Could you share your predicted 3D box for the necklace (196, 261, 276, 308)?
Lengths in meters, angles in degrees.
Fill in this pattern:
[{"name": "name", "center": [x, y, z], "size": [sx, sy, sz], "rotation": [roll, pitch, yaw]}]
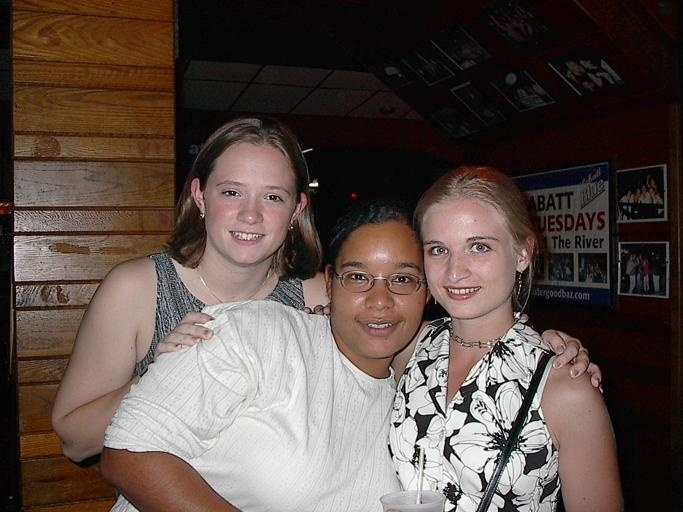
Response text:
[{"name": "necklace", "center": [-0.625, 0.161, 3.115], "size": [0.557, 0.145, 0.356], "rotation": [6, 7, -12]}]
